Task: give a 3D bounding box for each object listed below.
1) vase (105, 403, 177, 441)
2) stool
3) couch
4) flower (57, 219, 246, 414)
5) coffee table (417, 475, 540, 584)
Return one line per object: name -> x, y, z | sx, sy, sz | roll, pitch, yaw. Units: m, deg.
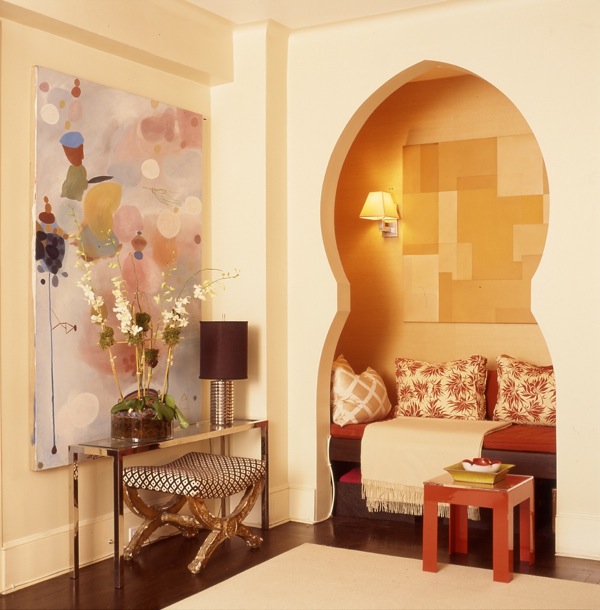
vase -> -0.783, 0.539, 2.828 | 0.181, 0.090, 0.182 | 0, -2, 44
stool -> -0.568, 0.958, 3.005 | 0.528, 0.454, 0.543 | -2, -3, 35
couch -> 0.949, 0.823, 3.975 | 1.425, 0.682, 1.246 | -1, -1, 25
flower -> -0.805, 0.048, 3.185 | 0.740, 0.960, 0.819 | 1, 2, 44
coffee table -> 0.844, 0.982, 2.776 | 0.468, 0.511, 0.475 | -2, -2, 29
